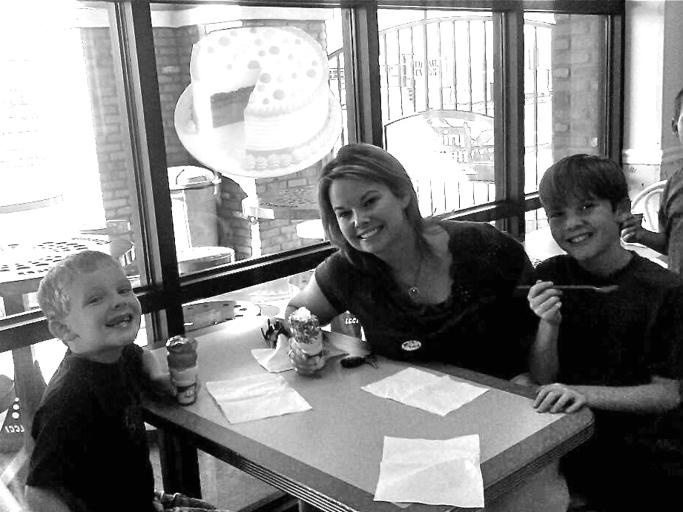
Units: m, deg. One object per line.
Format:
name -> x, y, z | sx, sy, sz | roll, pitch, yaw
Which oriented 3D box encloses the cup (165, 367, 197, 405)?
cup -> -0.426, 0.348, 1.721 | 0.074, 0.100, 0.097 | -1, 0, -10
